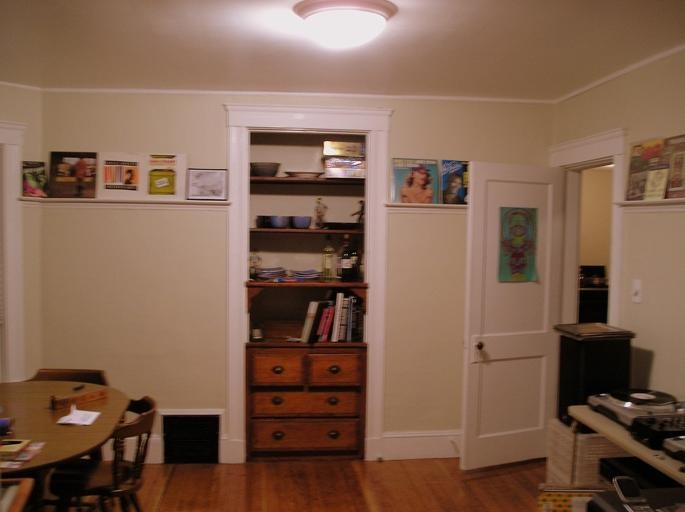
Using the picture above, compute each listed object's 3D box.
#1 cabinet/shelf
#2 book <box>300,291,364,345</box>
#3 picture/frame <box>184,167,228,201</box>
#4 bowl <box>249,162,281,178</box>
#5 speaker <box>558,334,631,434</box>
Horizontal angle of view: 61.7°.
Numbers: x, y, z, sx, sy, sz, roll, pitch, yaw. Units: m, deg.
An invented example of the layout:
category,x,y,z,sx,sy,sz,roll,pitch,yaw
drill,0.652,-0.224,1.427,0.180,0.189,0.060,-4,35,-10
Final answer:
category,x,y,z,sx,sy,sz,roll,pitch,yaw
cabinet/shelf,-0.303,0.283,4.827,0.990,2.590,1.045,-1,14,-1
book,-0.067,0.523,4.824,0.633,0.543,0.394,3,-5,1
picture/frame,-1.099,-0.567,4.587,0.313,0.216,0.030,0,-2,-5
bowl,-0.647,-0.709,4.713,0.188,0.070,0.176,-1,0,0
speaker,1.681,0.838,3.890,0.440,0.573,0.318,5,15,21
